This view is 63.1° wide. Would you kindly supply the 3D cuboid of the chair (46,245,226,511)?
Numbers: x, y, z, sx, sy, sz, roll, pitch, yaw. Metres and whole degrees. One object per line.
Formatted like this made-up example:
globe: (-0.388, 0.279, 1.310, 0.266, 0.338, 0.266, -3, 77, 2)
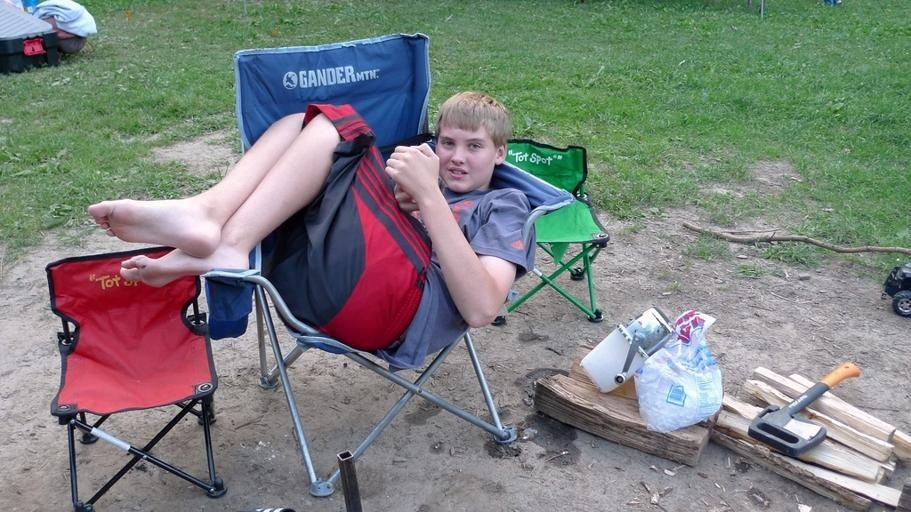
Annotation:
chair: (-2.190, 0.845, 5.098, 1.273, 1.591, 1.165, -8, 46, -22)
